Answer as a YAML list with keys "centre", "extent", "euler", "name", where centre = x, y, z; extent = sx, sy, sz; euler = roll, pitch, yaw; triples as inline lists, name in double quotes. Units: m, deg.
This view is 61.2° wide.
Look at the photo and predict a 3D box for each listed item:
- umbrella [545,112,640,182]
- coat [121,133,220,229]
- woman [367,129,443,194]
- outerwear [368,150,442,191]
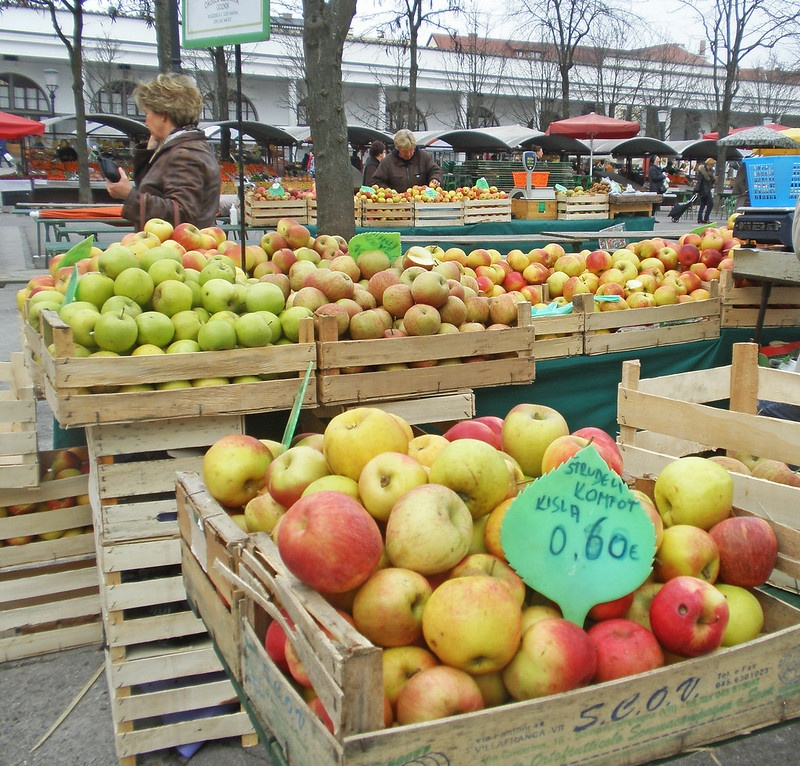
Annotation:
- centre: [6.235, -7.740, 22.201]
  extent: [2.643, 1.446, 2.688]
  euler: [-11, 11, -40]
  name: "umbrella"
- centre: [-1.586, -1.347, 4.680]
  extent: [0.690, 0.771, 0.998]
  euler: [-7, 27, -21]
  name: "coat"
- centre: [0.068, -3.512, 11.096]
  extent: [1.252, 1.134, 0.756]
  euler: [-10, 45, -12]
  name: "woman"
- centre: [0.072, -3.513, 11.291]
  extent: [1.334, 0.892, 0.688]
  euler: [-5, 19, -8]
  name: "outerwear"
